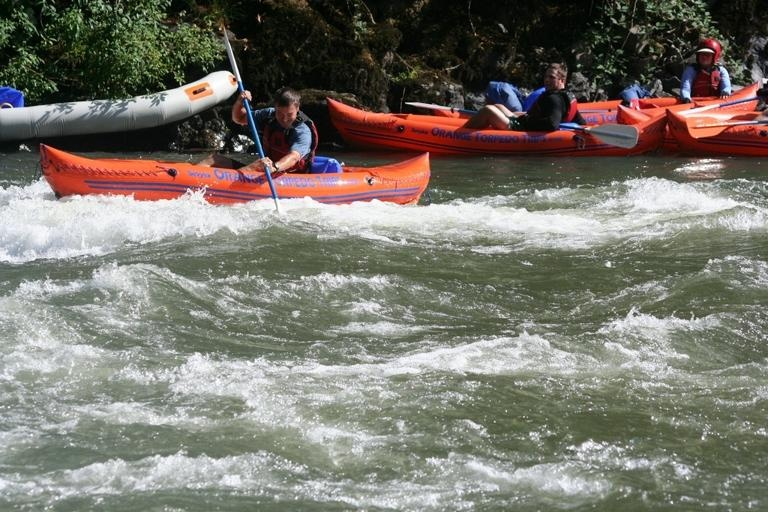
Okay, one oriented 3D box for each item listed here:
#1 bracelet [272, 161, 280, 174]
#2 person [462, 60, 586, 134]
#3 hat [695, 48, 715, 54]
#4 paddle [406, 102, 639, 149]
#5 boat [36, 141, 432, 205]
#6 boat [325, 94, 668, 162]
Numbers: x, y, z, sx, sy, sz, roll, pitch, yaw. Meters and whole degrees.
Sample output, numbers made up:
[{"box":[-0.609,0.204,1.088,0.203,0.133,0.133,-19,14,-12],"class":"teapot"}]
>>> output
[{"box":[-1.235,-1.008,11.895,0.089,0.133,0.246,-5,13,-6],"class":"bracelet"},{"box":[2.366,-2.402,16.184,2.073,0.883,0.958,3,12,17],"class":"person"},{"box":[5.505,-3.541,17.873,0.284,0.094,0.222,3,13,24],"class":"hat"},{"box":[2.125,-2.120,16.720,4.673,0.685,0.821,8,17,41],"class":"paddle"},{"box":[-1.737,-0.805,12.295,5.275,0.751,1.327,1,11,-11],"class":"boat"},{"box":[2.125,-1.882,16.258,6.369,0.918,1.594,4,8,5],"class":"boat"}]
